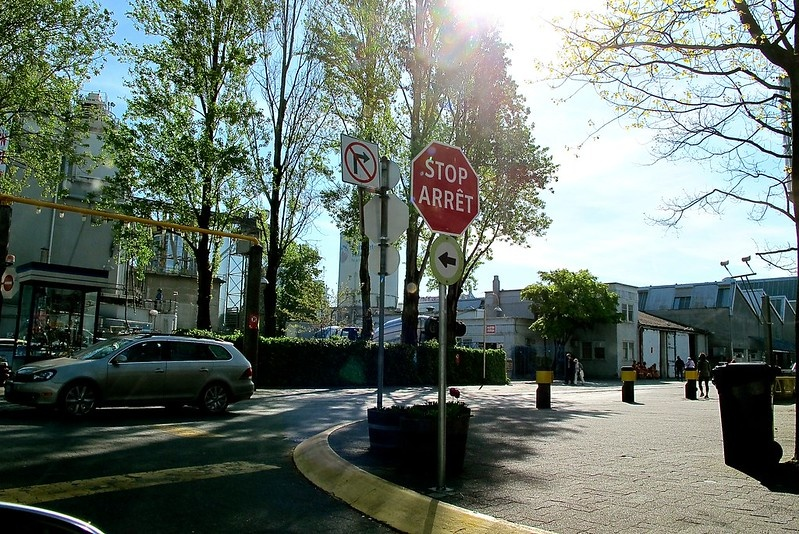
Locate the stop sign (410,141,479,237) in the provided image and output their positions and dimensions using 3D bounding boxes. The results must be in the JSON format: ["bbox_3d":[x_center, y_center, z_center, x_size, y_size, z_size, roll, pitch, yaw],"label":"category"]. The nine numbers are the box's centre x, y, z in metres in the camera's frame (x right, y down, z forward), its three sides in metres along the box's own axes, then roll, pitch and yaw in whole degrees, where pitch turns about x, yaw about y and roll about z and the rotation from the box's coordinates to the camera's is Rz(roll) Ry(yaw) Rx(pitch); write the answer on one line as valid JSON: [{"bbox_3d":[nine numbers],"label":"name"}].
[{"bbox_3d":[0.778,-1.363,11.287,1.318,1.599,0.283,4,-9,-22],"label":"stop sign"}]

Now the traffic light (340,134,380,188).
[{"bbox_3d":[-0.865,-2.299,14.282,1.087,1.132,0.239,7,-11,-38],"label":"traffic light"}]

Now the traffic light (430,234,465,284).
[{"bbox_3d":[0.807,-0.137,11.215,0.725,0.856,0.245,7,-11,-37],"label":"traffic light"}]

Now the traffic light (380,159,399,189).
[{"bbox_3d":[-0.208,-2.093,14.448,0.414,0.755,0.317,3,-9,-19],"label":"traffic light"}]

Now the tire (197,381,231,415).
[{"bbox_3d":[-5.108,3.542,17.762,0.293,0.911,0.833,-2,-5,42],"label":"tire"}]

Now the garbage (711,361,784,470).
[{"bbox_3d":[6.912,2.925,12.927,1.127,2.067,0.643,-4,-9,24],"label":"garbage"}]

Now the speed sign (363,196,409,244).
[{"bbox_3d":[-0.291,-1.087,14.264,0.978,1.155,0.460,1,-9,-8],"label":"speed sign"}]

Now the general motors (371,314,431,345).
[{"bbox_3d":[0.189,4.354,47.781,3.239,1.578,2.260,-1,-10,-8],"label":"general motors"}]

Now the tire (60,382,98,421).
[{"bbox_3d":[-7.899,3.255,16.166,0.879,1.004,0.325,3,5,-10],"label":"tire"}]
